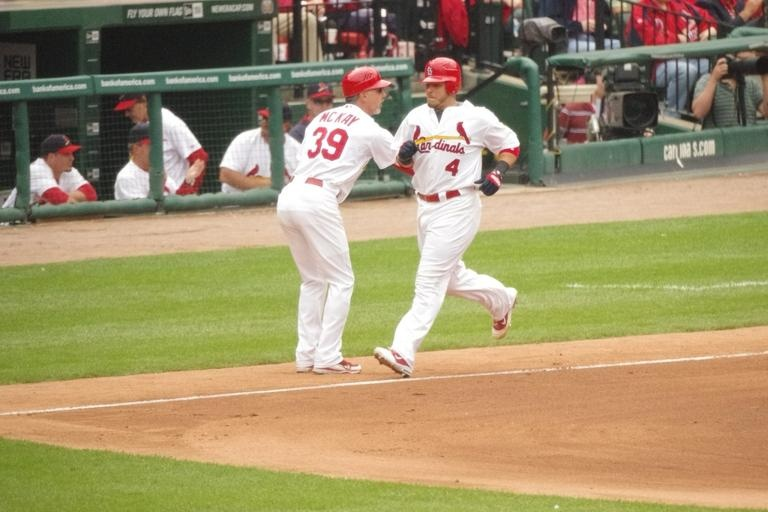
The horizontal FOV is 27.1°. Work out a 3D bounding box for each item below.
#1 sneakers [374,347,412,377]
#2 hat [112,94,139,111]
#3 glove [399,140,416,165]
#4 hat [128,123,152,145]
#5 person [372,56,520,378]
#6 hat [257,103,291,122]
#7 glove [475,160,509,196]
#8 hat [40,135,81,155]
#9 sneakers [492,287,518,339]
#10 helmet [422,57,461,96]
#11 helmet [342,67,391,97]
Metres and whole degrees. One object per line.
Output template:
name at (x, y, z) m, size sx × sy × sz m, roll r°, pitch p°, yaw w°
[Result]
sneakers at (0.113, 1.047, 16.490) m, size 0.515 × 0.177 × 0.242 m, roll 23°, pitch 18°, yaw -17°
hat at (-3.597, -2.158, 22.271) m, size 0.297 × 0.203 × 0.414 m, roll -4°, pitch 7°, yaw -22°
glove at (0.252, -1.084, 16.535) m, size 0.171 × 0.220 × 0.100 m, roll -8°, pitch -12°, yaw 36°
hat at (-3.354, -1.706, 21.955) m, size 0.345 × 0.276 × 0.135 m, roll 1°, pitch 7°, yaw 15°
person at (0.687, -0.421, 16.606) m, size 1.412 × 3.276 × 0.744 m, roll -2°, pitch 7°, yaw -3°
hat at (-1.500, -2.030, 22.509) m, size 0.393 × 0.197 × 0.225 m, roll 1°, pitch 3°, yaw -18°
glove at (1.149, -0.791, 16.640) m, size 0.166 × 0.267 × 0.413 m, roll -29°, pitch 20°, yaw 45°
hat at (-4.407, -1.520, 21.595) m, size 0.422 × 0.192 × 0.275 m, roll -1°, pitch 10°, yaw -7°
sneakers at (1.323, 0.586, 17.389) m, size 0.263 × 0.607 × 0.216 m, roll -14°, pitch 39°, yaw -31°
helmet at (0.673, -1.918, 16.794) m, size 0.421 × 0.301 × 0.344 m, roll 1°, pitch -1°, yaw -26°
helmet at (-0.184, -1.860, 16.939) m, size 0.452 × 0.218 × 0.303 m, roll -15°, pitch 13°, yaw -8°
